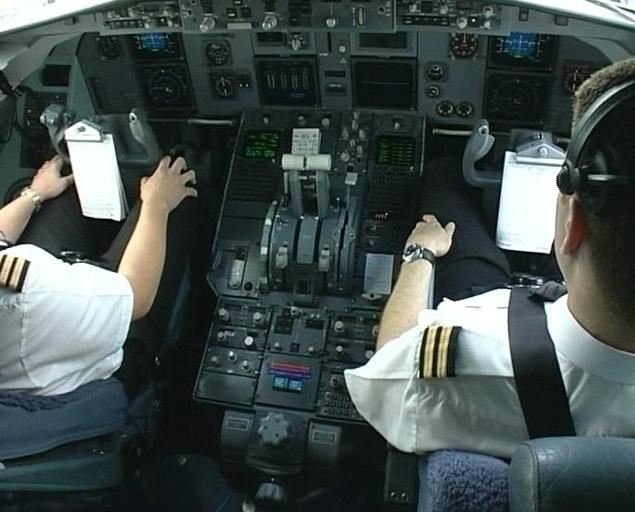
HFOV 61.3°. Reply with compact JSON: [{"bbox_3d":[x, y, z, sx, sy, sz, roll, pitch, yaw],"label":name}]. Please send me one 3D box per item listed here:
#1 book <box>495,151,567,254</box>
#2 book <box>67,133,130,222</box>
[{"bbox_3d":[1.389,-0.386,3.427,0.604,0.681,0.156,2,-9,4],"label":"book"},{"bbox_3d":[-1.571,-0.578,3.920,0.433,0.595,0.141,-6,7,12],"label":"book"}]
